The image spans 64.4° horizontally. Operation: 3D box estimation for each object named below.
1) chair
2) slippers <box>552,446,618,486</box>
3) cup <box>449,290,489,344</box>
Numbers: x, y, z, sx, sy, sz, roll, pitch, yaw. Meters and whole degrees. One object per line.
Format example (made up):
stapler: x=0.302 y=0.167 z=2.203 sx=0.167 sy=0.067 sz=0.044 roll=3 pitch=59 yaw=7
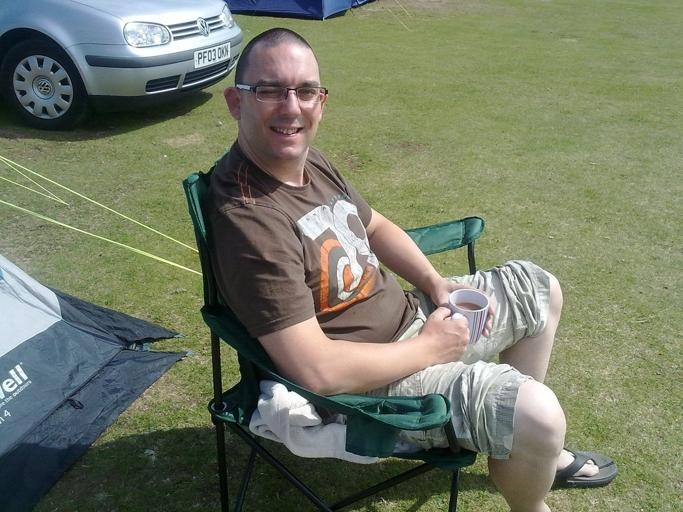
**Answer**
chair: x=-0.058 y=0.400 z=2.201 sx=0.882 sy=1.251 sz=1.105 roll=3 pitch=35 yaw=4
slippers: x=1.106 y=0.951 z=2.457 sx=0.298 sy=0.092 sz=0.161 roll=-4 pitch=39 yaw=11
cup: x=0.535 y=0.223 z=2.243 sx=0.143 sy=0.166 sz=0.229 roll=5 pitch=29 yaw=14
